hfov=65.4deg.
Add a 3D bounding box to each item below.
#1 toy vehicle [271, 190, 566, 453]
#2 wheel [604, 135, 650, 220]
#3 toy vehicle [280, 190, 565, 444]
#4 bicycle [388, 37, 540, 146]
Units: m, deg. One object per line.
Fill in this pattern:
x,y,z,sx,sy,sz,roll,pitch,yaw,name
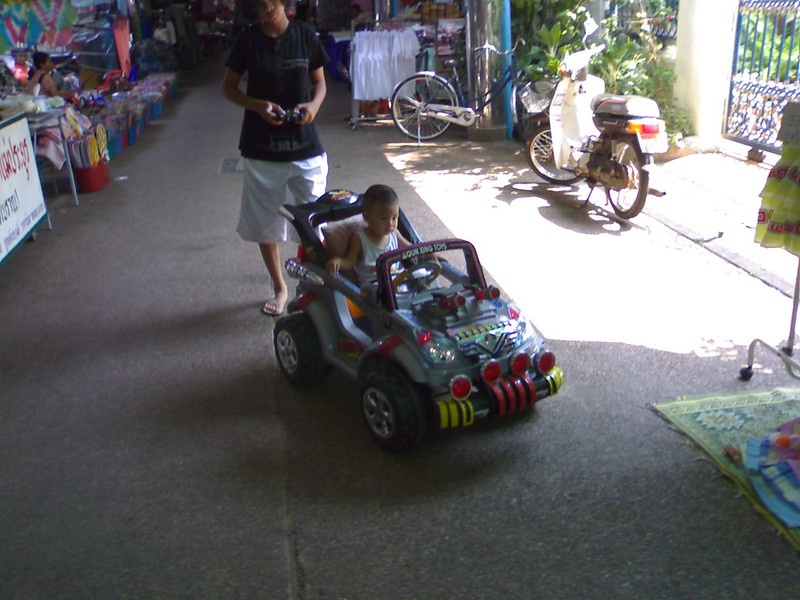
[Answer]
0.019,0.149,4.072,1.223,1.342,1.879,-20,37,-32,toy vehicle
2.400,-1.319,6.606,0.160,0.941,0.787,-6,5,-15,wheel
0.023,0.151,4.024,1.213,1.323,1.853,-20,38,-33,toy vehicle
0.931,-3.412,10.289,2.322,1.556,1.252,8,36,19,bicycle
